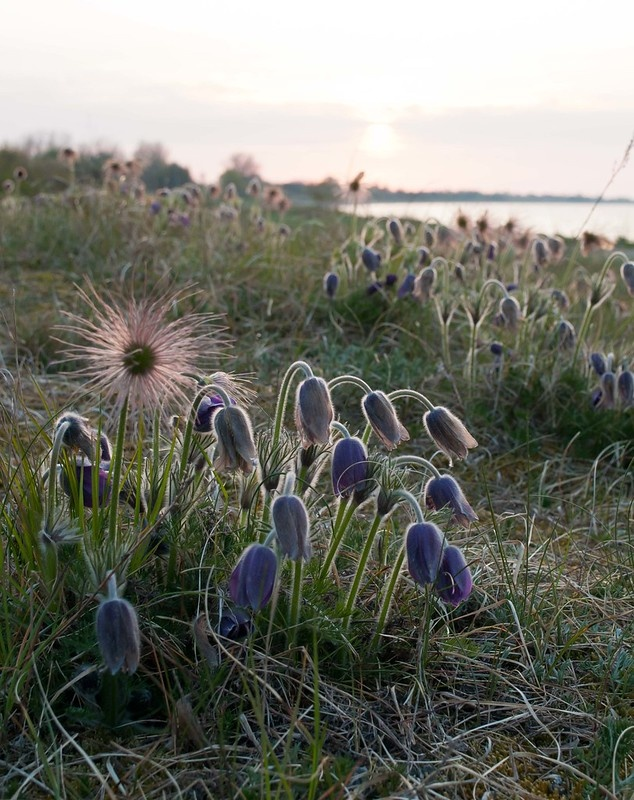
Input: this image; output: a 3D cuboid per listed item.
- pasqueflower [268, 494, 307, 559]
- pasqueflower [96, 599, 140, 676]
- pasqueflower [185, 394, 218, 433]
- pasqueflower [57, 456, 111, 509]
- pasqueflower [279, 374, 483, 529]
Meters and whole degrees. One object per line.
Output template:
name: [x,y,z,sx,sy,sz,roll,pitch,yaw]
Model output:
pasqueflower: [-0.061,0.274,1.638,0.083,0.119,0.076,6,18,-4]
pasqueflower: [-0.413,0.471,1.530,0.040,0.162,0.086,-8,-5,22]
pasqueflower: [-0.314,0.039,2.029,0.032,0.099,0.070,9,-3,-29]
pasqueflower: [-0.622,0.217,1.998,0.123,0.148,0.073,-1,20,4]
pasqueflower: [0.166,0.086,1.998,0.460,0.320,0.420,-1,-5,-8]
